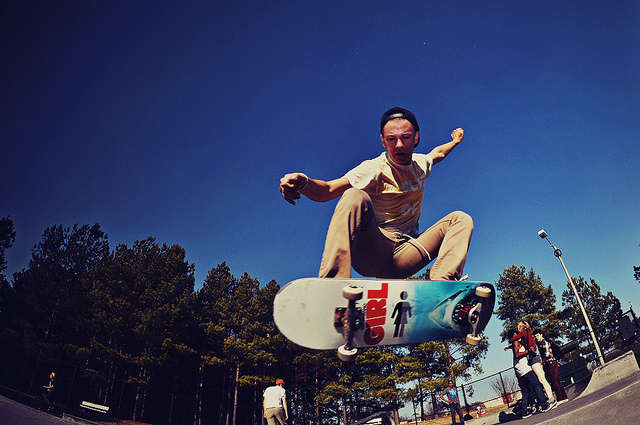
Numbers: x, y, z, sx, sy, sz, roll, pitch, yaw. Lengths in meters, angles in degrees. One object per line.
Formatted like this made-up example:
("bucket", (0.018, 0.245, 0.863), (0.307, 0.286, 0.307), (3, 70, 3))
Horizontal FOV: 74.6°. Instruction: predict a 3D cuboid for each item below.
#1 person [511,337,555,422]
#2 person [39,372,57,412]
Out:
("person", (7.491, 6.133, 15.271), (1.026, 2.630, 1.303), (-10, -30, 10))
("person", (-14.182, 9.532, 22.071), (0.623, 2.122, 1.215), (14, -34, -30))
